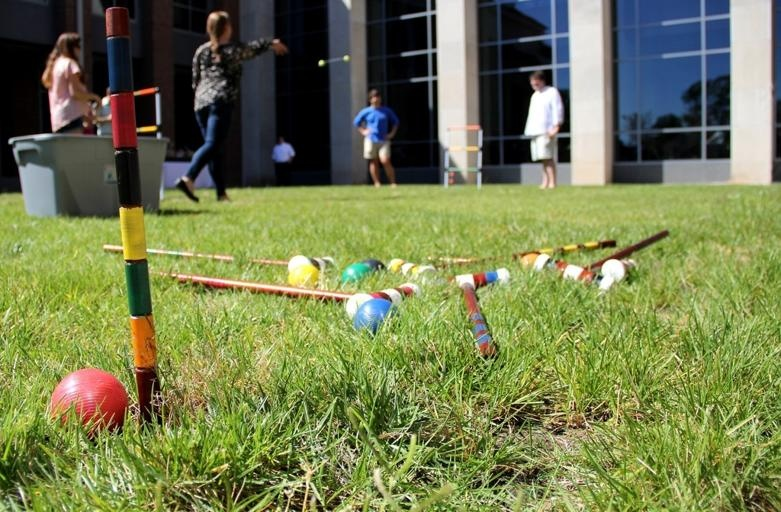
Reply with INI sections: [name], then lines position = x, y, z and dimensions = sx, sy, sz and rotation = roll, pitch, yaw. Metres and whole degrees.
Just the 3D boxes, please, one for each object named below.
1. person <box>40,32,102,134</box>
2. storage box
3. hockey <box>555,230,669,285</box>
[person]
position = -3.317, -1.809, 8.563
dimensions = 0.523, 1.072, 0.721
rotation = -3, 7, -25
[storage box]
position = -2.888, -0.771, 7.943
dimensions = 1.362, 0.805, 0.903
rotation = -4, 7, -28
[hockey]
position = 1.321, 0.006, 4.922
dimensions = 0.851, 0.135, 0.313
rotation = -28, 19, -36
